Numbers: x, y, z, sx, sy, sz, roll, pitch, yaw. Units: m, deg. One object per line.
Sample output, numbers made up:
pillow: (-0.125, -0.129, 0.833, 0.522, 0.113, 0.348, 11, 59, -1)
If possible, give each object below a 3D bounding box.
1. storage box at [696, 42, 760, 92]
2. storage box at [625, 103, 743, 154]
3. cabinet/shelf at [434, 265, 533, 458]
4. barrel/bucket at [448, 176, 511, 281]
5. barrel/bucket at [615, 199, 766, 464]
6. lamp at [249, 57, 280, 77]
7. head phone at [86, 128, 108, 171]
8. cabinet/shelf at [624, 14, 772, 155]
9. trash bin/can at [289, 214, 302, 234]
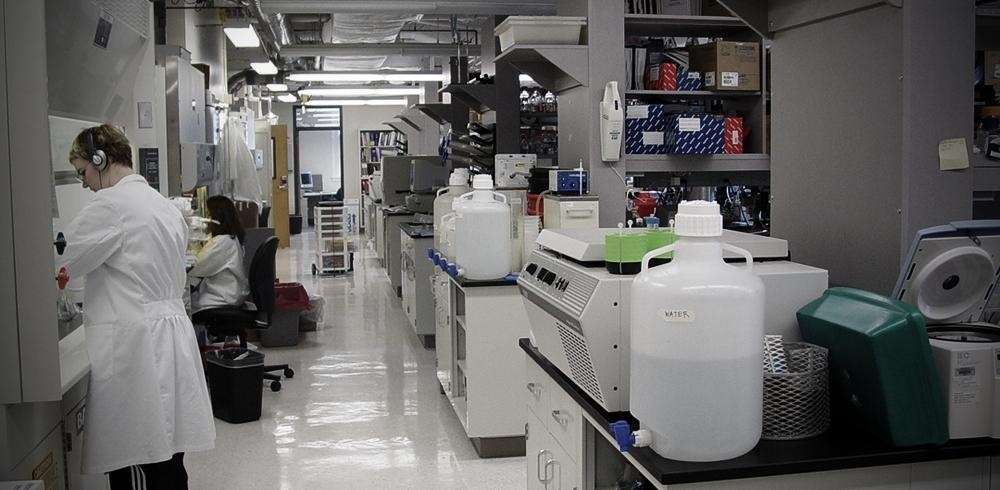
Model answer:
storage box: (2.269, -1.787, 6.607, 0.608, 0.451, 0.554, 0, 4, -9)
storage box: (1.820, -1.113, 6.189, 1.271, 0.485, 0.355, -5, 14, -23)
cabinet/shelf: (-0.109, 0.906, 4.904, 0.591, 1.299, 1.675, 0, 1, -4)
barrel/bucket: (-0.141, -0.132, 4.858, 0.416, 0.804, 0.153, 0, 13, -3)
barrel/bucket: (0.826, 0.375, 2.731, 0.574, 1.094, 0.301, 5, 14, 20)
lamp: (-4.047, -2.994, 10.920, 0.354, 0.150, 2.875, -4, 13, -20)
head phone: (-2.436, -0.578, 3.848, 0.094, 0.252, 0.052, 0, 13, 0)
cabinet/shelf: (1.931, -1.571, 6.264, 2.046, 1.461, 0.674, 0, 6, -5)
trash bin/can: (-5.417, -0.521, 16.859, 0.481, 0.506, 0.485, 0, 0, -14)
